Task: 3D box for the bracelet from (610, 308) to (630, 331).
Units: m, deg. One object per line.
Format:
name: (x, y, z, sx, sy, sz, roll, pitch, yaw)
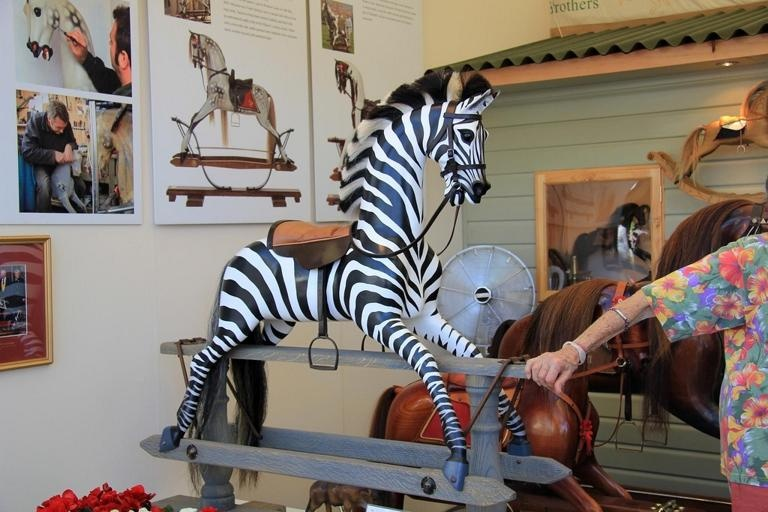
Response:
bracelet: (0.961, 0.247, 2.916, 0.022, 0.077, 0.080, -26, -32, -11)
